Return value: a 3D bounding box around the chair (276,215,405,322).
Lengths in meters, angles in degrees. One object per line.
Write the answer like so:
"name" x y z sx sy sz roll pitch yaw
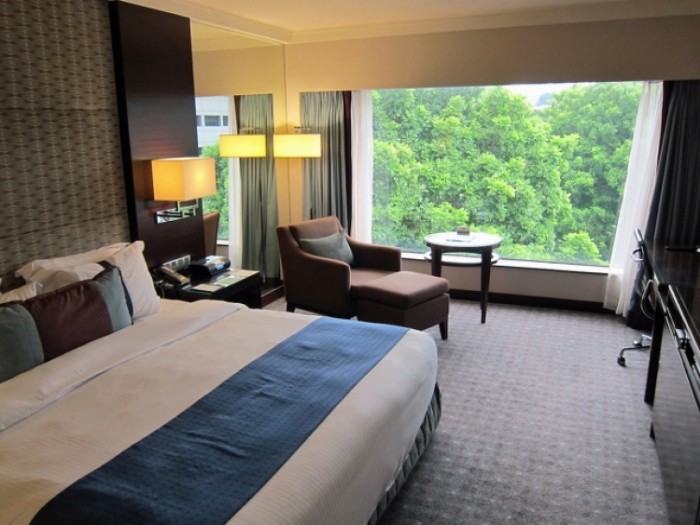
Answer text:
"chair" -0.015 0.028 5.295 1.173 1.104 1.033 7 17 30

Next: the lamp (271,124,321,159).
"lamp" -0.628 -1.394 5.897 0.490 0.274 0.470 1 12 1

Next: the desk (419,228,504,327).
"desk" 1.090 0.141 5.570 1.006 1.016 0.977 -1 21 6

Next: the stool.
"stool" 0.523 0.339 4.746 0.623 0.514 0.683 7 13 37

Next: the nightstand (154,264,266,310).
"nightstand" -1.335 0.202 4.398 0.459 0.318 0.667 5 16 13

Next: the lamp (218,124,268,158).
"lamp" -1.189 -1.287 5.369 0.404 0.261 0.441 16 21 39

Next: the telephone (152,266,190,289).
"telephone" -1.554 0.122 4.268 0.194 0.087 0.228 5 12 -3

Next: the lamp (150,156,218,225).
"lamp" -1.420 -0.617 4.302 0.368 0.427 0.677 3 11 18

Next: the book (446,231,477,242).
"book" 1.185 -0.270 5.324 0.197 0.039 0.195 5 16 23

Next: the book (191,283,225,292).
"book" -1.239 0.225 4.331 0.223 0.032 0.208 3 14 18
